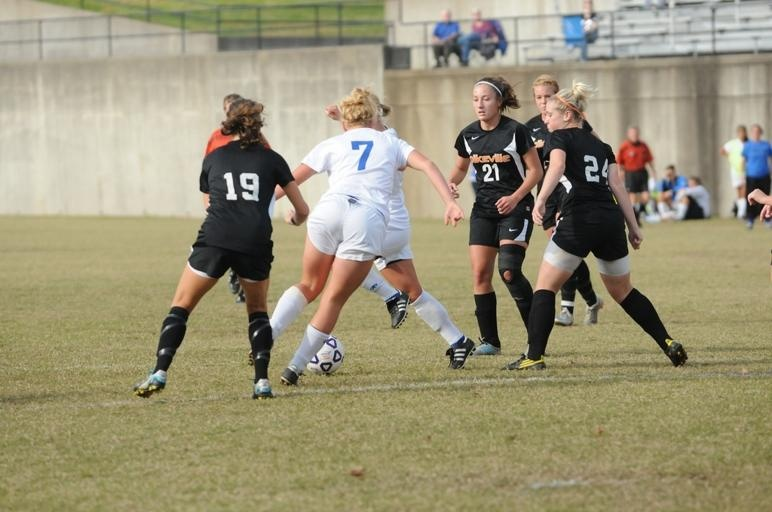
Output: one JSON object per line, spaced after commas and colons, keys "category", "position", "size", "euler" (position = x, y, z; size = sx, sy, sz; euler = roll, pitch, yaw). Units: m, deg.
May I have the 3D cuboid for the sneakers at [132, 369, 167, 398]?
{"category": "sneakers", "position": [-2.169, 1.193, 11.035], "size": [0.324, 0.182, 0.158], "euler": [-29, -27, -15]}

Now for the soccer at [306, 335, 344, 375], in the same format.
{"category": "soccer", "position": [-0.625, 0.997, 11.825], "size": [0.288, 0.337, 0.292], "euler": [36, -5, -28]}

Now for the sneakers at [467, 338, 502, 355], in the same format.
{"category": "sneakers", "position": [1.050, 0.991, 12.688], "size": [0.345, 0.168, 0.124], "euler": [1, -14, 7]}

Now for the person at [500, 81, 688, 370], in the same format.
{"category": "person", "position": [2.039, -0.056, 11.819], "size": [1.567, 2.354, 0.737], "euler": [1, 13, 5]}

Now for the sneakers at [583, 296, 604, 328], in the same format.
{"category": "sneakers", "position": [2.428, 0.652, 13.874], "size": [0.181, 0.396, 0.136], "euler": [-6, 27, -22]}

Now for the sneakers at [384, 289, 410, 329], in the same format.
{"category": "sneakers", "position": [0.111, 0.586, 12.815], "size": [0.242, 0.158, 0.471], "euler": [9, 26, -8]}

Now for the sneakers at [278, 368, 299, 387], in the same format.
{"category": "sneakers", "position": [-0.936, 1.163, 11.560], "size": [0.159, 0.179, 0.183], "euler": [19, 28, 18]}

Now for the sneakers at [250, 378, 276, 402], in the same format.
{"category": "sneakers", "position": [-1.174, 1.279, 11.254], "size": [0.206, 0.200, 0.438], "euler": [0, 3, -13]}

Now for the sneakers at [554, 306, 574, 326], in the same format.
{"category": "sneakers", "position": [2.095, 0.716, 13.927], "size": [0.173, 0.196, 0.277], "euler": [-3, -8, 18]}

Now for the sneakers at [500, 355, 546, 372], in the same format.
{"category": "sneakers", "position": [1.366, 1.068, 11.830], "size": [0.450, 0.191, 0.153], "euler": [1, -3, 12]}

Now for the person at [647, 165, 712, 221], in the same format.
{"category": "person", "position": [6.151, -1.191, 24.797], "size": [1.492, 1.191, 0.815], "euler": [-1, -3, -23]}

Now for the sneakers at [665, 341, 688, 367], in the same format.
{"category": "sneakers", "position": [2.889, 0.969, 11.875], "size": [0.193, 0.269, 0.258], "euler": [-21, 0, -14]}
